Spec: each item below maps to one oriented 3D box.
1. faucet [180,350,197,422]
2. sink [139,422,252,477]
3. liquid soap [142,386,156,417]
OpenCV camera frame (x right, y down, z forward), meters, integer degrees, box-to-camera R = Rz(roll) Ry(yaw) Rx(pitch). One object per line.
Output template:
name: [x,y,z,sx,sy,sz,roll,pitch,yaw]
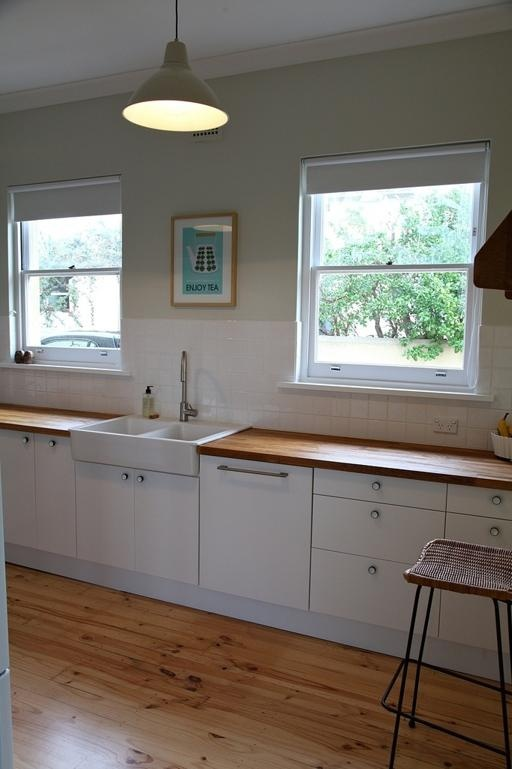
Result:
faucet: [-0.359,0.008,3.235,0.093,0.376,0.158,0,4,-7]
sink: [-0.305,0.299,2.826,0.276,0.116,0.327,5,9,26]
liquid soap: [-0.582,0.094,3.338,0.064,0.167,0.092,3,5,31]
